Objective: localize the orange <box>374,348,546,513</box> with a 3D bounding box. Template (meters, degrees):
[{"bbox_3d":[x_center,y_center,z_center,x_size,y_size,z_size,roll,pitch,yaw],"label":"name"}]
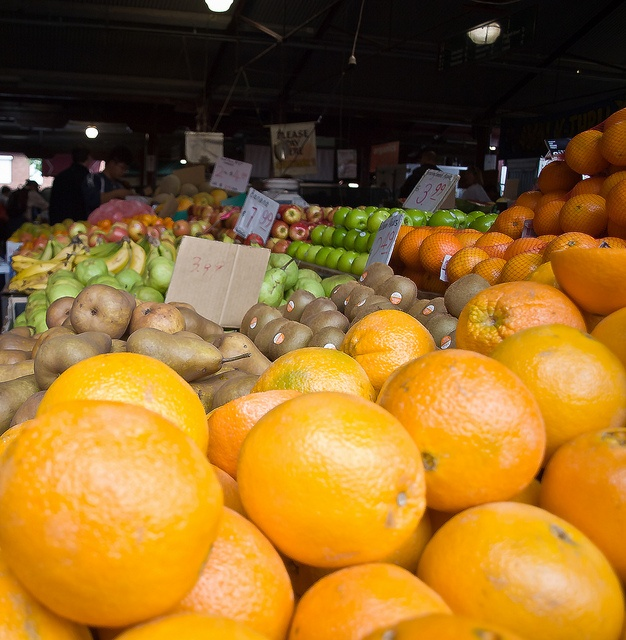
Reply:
[{"bbox_3d":[0.228,0.168,0.796,0.213,0.219,0.203,-17,7,-26],"label":"orange"}]

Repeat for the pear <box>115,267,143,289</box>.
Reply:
[{"bbox_3d":[-1.102,-0.249,3.097,0.164,0.143,0.130,8,-26,-33],"label":"pear"}]

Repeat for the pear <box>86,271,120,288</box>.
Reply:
[{"bbox_3d":[-1.140,-0.211,2.843,0.168,0.112,0.195,0,2,1],"label":"pear"}]

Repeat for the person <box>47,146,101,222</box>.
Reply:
[{"bbox_3d":[-3.223,-1.798,6.996,0.613,1.024,0.596,-2,14,-24],"label":"person"}]

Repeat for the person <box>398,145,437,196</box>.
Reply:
[{"bbox_3d":[1.729,-2.433,8.621,0.473,0.738,1.168,6,13,8],"label":"person"}]

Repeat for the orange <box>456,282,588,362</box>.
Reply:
[{"bbox_3d":[0.466,-0.027,1.124,0.245,0.165,0.221,-6,11,-31],"label":"orange"}]

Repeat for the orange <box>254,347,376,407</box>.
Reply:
[{"bbox_3d":[0.000,0.077,1.031,0.188,0.119,0.239,-3,10,-10],"label":"orange"}]

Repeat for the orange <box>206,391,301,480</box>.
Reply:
[{"bbox_3d":[-0.113,0.175,0.906,0.172,0.168,0.158,-4,-9,-6],"label":"orange"}]

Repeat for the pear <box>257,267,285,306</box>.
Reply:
[{"bbox_3d":[-0.247,-0.200,3.211,0.121,0.220,0.285,5,13,5],"label":"pear"}]

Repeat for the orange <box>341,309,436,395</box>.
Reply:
[{"bbox_3d":[0.148,0.050,1.184,0.197,0.172,0.280,-1,12,-11],"label":"orange"}]

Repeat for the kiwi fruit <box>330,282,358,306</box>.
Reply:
[{"bbox_3d":[0.138,-0.132,2.580,0.138,0.112,0.108,-20,42,-42],"label":"kiwi fruit"}]

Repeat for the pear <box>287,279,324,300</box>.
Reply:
[{"bbox_3d":[-0.046,-0.170,3.181,0.157,0.142,0.182,7,-2,-33],"label":"pear"}]

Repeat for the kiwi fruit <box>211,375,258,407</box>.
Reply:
[{"bbox_3d":[-0.199,0.175,1.299,0.107,0.064,0.083,-35,-4,15],"label":"kiwi fruit"}]

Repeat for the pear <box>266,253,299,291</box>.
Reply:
[{"bbox_3d":[-0.190,-0.314,3.404,0.221,0.255,0.233,2,8,-7],"label":"pear"}]
